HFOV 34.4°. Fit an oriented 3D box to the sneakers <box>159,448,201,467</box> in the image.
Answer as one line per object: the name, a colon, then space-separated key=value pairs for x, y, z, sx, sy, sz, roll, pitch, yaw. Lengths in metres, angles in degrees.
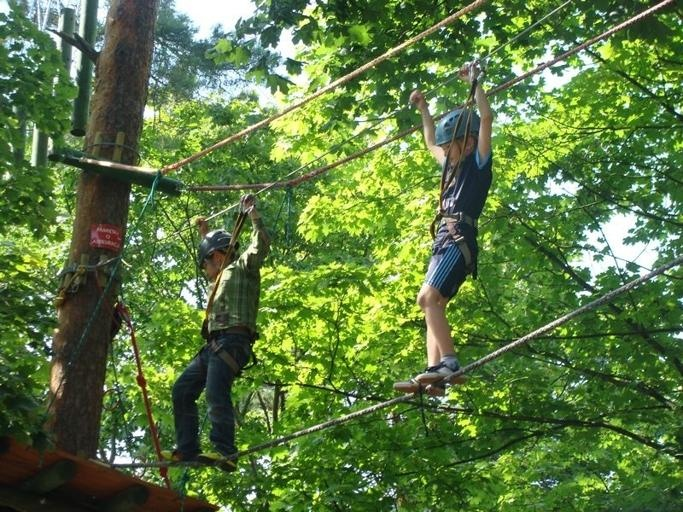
sneakers: x=-2.008 y=2.518 z=13.800 sx=0.590 sy=0.244 sz=0.212 roll=7 pitch=-21 yaw=5

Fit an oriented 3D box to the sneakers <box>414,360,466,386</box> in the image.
sneakers: x=1.158 y=1.409 z=13.180 sx=0.687 sy=0.285 sz=0.226 roll=1 pitch=-31 yaw=0

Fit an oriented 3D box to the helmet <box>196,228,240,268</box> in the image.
helmet: x=-1.626 y=-0.159 z=14.490 sx=0.543 sy=0.428 sz=0.410 roll=-5 pitch=-27 yaw=-12

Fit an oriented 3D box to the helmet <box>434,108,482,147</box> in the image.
helmet: x=1.480 y=-1.656 z=13.925 sx=0.636 sy=0.460 sz=0.374 roll=-16 pitch=-80 yaw=-8
